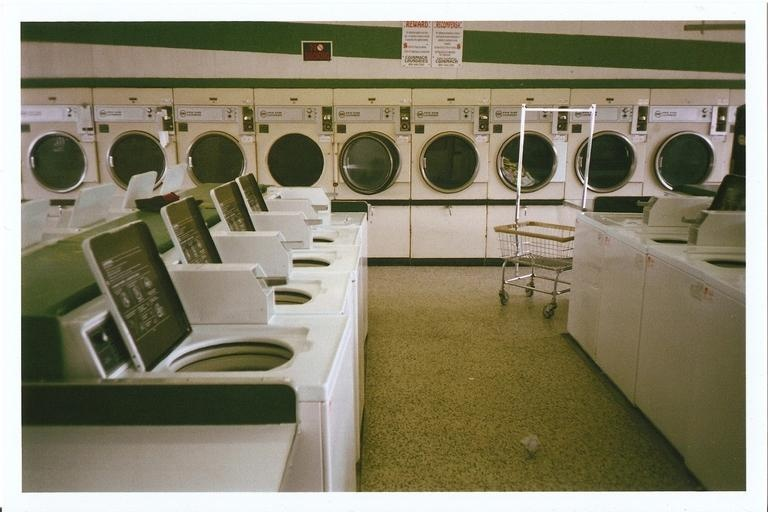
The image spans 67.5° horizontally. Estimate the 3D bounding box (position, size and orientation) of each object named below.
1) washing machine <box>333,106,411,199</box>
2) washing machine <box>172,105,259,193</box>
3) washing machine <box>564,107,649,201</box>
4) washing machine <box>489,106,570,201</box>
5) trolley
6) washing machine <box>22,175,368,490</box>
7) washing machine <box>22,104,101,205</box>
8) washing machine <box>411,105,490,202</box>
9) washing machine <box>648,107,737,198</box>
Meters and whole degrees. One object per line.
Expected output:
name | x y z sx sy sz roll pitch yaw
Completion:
washing machine | -0.176 -1.328 7.053 0.931 1.151 0.850 3 25 3
washing machine | -1.994 -1.289 7.015 0.927 1.194 0.707 5 20 -2
washing machine | 2.708 -1.104 6.987 0.779 0.792 0.569 4 -5 10
washing machine | 1.729 -1.255 6.945 0.859 0.953 0.528 4 39 17
trolley | 1.728 -0.160 6.001 0.694 1.576 0.681 14 -3 32
washing machine | -0.863 0.362 2.667 0.902 1.054 1.737 -2 15 -4
washing machine | -3.771 -1.209 6.918 1.048 1.102 0.974 -3 6 -33
washing machine | 0.762 -1.279 7.088 0.928 1.226 0.840 -1 18 -1
washing machine | 3.619 -1.322 6.996 0.830 1.168 0.781 -4 16 -6
